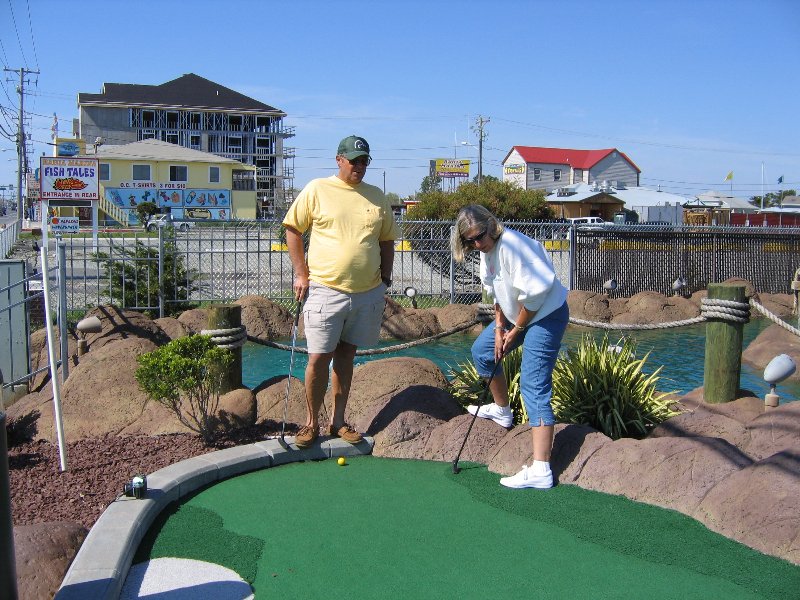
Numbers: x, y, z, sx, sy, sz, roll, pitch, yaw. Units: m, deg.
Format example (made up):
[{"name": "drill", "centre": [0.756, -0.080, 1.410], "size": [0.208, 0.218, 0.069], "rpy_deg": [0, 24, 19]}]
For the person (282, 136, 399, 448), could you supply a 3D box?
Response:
[{"name": "person", "centre": [-0.460, -0.078, 6.672], "size": [0.830, 2.567, 0.621], "rpy_deg": [0, 5, -15]}]

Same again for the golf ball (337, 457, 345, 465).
[{"name": "golf ball", "centre": [-0.481, 1.307, 6.470], "size": [0.039, 0.054, 0.047], "rpy_deg": [3, 50, 17]}]
